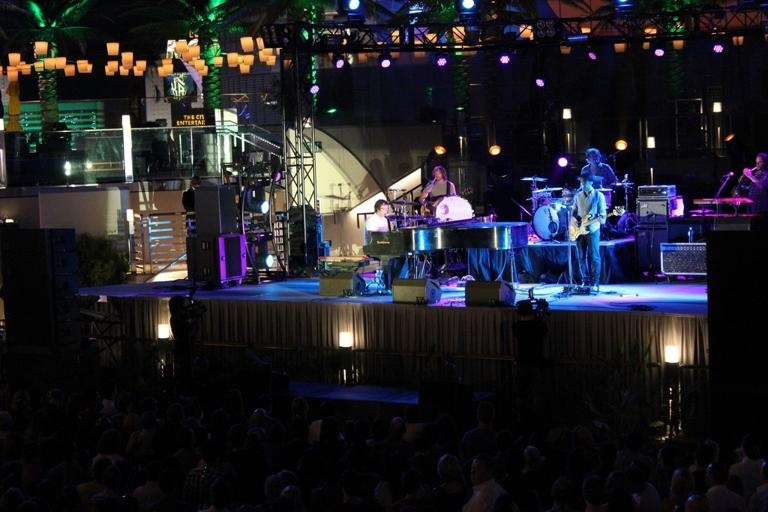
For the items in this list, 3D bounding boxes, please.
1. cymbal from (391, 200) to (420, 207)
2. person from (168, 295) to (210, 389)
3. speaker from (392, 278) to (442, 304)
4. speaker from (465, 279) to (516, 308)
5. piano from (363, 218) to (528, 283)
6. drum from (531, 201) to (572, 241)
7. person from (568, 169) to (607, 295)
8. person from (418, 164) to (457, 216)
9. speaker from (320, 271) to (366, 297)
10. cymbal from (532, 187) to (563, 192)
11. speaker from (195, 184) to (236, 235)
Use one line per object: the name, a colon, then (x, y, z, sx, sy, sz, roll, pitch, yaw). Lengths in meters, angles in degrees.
cymbal: (0.552, -1.302, 25.535, 0.336, 0.149, 0.467, 1, 1, 25)
person: (-3.662, 1.551, 19.257, 0.694, 0.719, 1.793, 2, -16, 9)
speaker: (0.659, 0.679, 20.286, 0.927, 0.480, 0.401, -2, 0, 0)
speaker: (2.096, 0.579, 19.818, 0.772, 0.452, 0.544, 1, 5, 34)
piano: (1.403, -0.170, 21.404, 3.173, 1.129, 1.978, -2, 0, 6)
drum: (3.726, -0.786, 22.927, 0.807, 0.896, 0.603, -2, 0, 6)
person: (4.143, -0.495, 20.718, 0.712, 2.433, 0.995, 6, -14, -17)
person: (1.364, -1.513, 25.048, 0.916, 1.249, 0.831, -2, -8, 13)
speaker: (-0.805, 0.576, 21.395, 0.952, 0.508, 0.274, -2, 0, -3)
cymbal: (3.771, -1.497, 23.364, 0.340, 0.065, 0.341, -2, 2, 34)
speaker: (-3.599, -0.990, 22.352, 0.899, 1.048, 0.475, -2, 0, -20)
